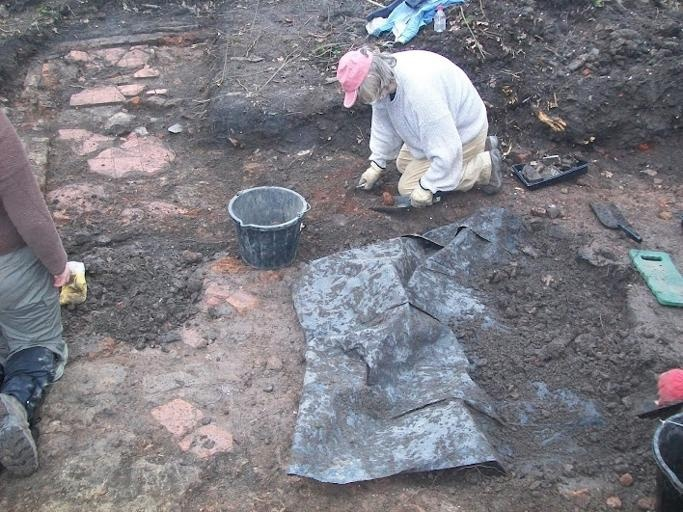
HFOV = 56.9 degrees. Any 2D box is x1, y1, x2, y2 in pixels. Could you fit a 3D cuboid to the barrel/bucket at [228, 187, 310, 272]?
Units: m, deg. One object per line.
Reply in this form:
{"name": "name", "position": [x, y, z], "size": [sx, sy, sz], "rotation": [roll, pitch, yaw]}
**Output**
{"name": "barrel/bucket", "position": [-0.589, -0.221, 5.120], "size": [0.632, 0.482, 0.597], "rotation": [3, 36, -2]}

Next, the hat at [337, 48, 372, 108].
{"name": "hat", "position": [0.119, -1.374, 4.841], "size": [0.273, 0.212, 0.410], "rotation": [9, 78, 46]}

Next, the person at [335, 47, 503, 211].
{"name": "person", "position": [0.710, -1.068, 5.381], "size": [1.235, 1.670, 0.933], "rotation": [-11, 40, 7]}

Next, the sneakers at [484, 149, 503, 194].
{"name": "sneakers", "position": [1.363, -0.741, 5.569], "size": [0.112, 0.336, 0.255], "rotation": [11, 14, 16]}

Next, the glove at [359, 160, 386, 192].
{"name": "glove", "position": [0.260, -0.705, 5.708], "size": [0.145, 0.300, 0.172], "rotation": [33, 45, -27]}

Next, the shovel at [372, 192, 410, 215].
{"name": "shovel", "position": [0.437, -0.473, 5.557], "size": [0.277, 0.056, 0.166], "rotation": [-6, 53, -10]}

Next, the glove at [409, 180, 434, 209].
{"name": "glove", "position": [0.675, -0.511, 5.369], "size": [0.164, 0.227, 0.222], "rotation": [6, 70, 10]}

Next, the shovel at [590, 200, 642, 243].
{"name": "shovel", "position": [2.267, -0.290, 5.226], "size": [0.160, 0.083, 0.473], "rotation": [-13, 30, -6]}
